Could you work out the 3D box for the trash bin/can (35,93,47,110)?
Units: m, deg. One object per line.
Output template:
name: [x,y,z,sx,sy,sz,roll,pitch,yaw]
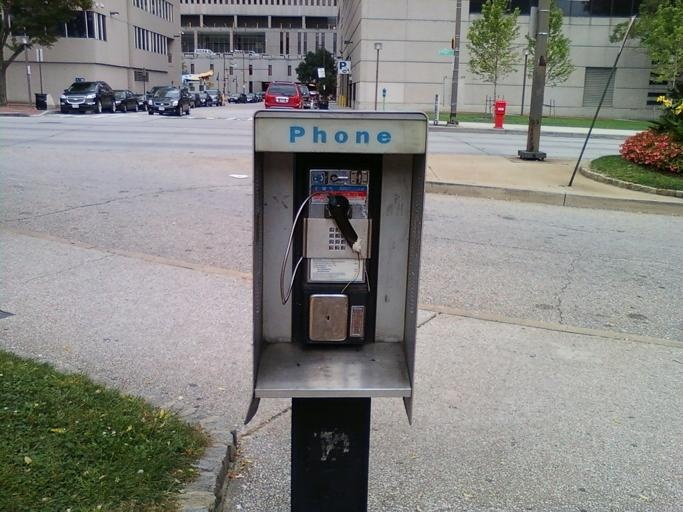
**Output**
trash bin/can: [-20.833,-10.362,39.898,0.591,0.984,0.595,-8,18,-36]
